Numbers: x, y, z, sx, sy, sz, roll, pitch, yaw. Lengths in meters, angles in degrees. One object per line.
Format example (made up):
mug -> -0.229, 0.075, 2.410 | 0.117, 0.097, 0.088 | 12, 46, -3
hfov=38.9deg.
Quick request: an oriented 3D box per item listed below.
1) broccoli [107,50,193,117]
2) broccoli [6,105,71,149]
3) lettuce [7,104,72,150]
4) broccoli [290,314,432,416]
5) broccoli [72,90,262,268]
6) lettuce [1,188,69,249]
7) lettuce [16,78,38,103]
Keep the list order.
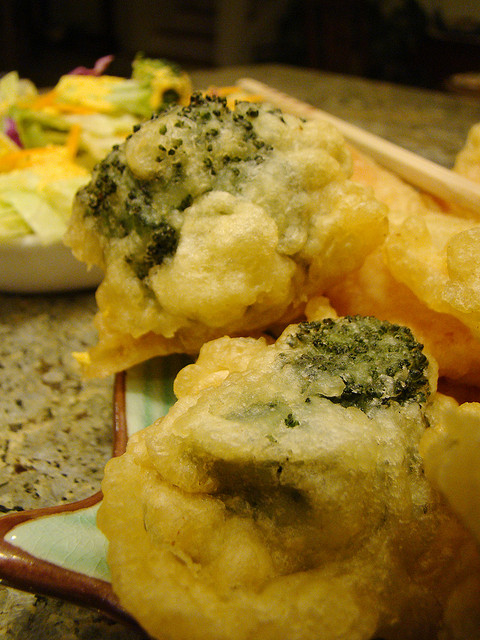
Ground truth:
broccoli -> -0.181, -0.449, 1.345 | 0.191, 0.085, 0.215 | 5, 9, 10
broccoli -> -0.351, -0.340, 1.194 | 0.104, 0.027, 0.082 | -19, 79, -9
lettuce -> -0.348, -0.337, 1.184 | 0.114, 0.069, 0.061 | 8, 37, 13
broccoli -> 0.104, 0.034, 0.577 | 0.103, 0.025, 0.083 | 7, 42, 10
broccoli -> -0.056, -0.148, 0.682 | 0.133, 0.144, 0.176 | 29, 44, 34
lettuce -> -0.293, -0.153, 0.982 | 0.055, 0.058, 0.124 | -26, 41, -31
lettuce -> -0.384, -0.415, 1.229 | 0.056, 0.042, 0.017 | -5, 12, -32
